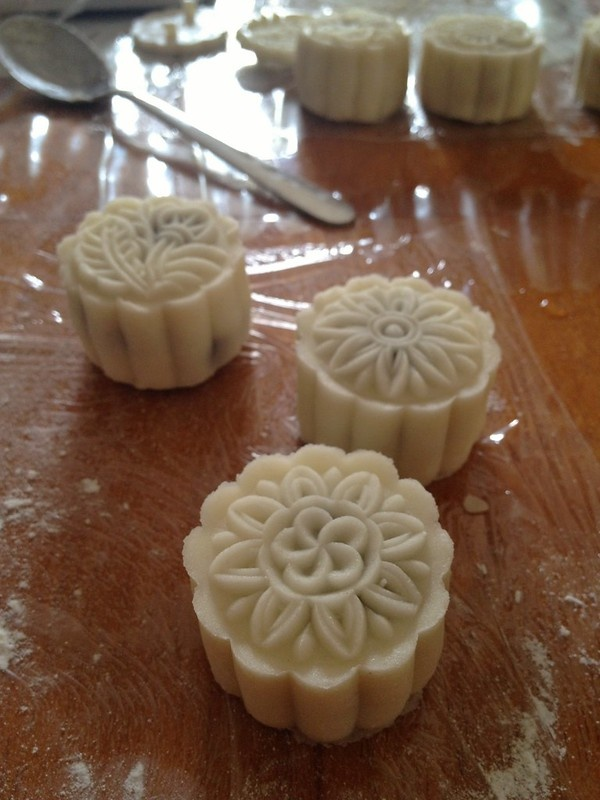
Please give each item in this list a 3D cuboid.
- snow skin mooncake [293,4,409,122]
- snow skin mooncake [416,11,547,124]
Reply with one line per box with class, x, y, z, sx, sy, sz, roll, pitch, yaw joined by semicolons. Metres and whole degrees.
snow skin mooncake;0.070;-0.445;1.135;0.159;0.105;0.145;25;49;20
snow skin mooncake;0.214;-0.397;1.049;0.098;0.119;0.169;-18;45;-19
